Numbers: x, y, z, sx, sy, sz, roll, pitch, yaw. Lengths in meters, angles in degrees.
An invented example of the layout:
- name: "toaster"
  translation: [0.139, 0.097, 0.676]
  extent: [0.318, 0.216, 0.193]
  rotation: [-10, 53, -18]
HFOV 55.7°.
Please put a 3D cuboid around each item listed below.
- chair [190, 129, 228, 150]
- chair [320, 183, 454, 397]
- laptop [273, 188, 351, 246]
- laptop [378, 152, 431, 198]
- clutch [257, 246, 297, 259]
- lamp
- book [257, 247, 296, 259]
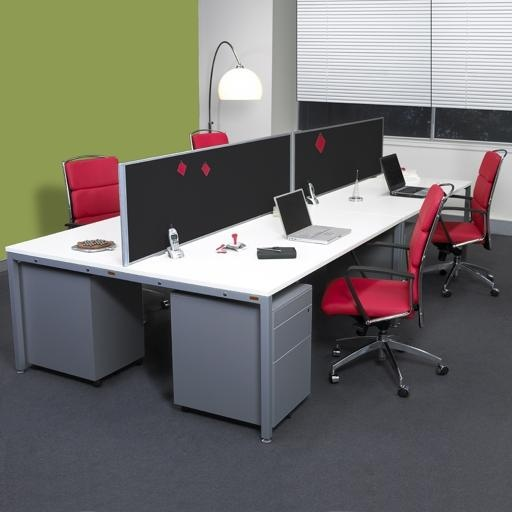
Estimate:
- name: "chair"
  translation: [-0.561, -1.341, 5.552]
  extent: [0.262, 0.210, 0.572]
  rotation: [3, 12, 18]
- name: "chair"
  translation: [0.762, 0.179, 2.927]
  extent: [0.773, 1.147, 0.761]
  rotation: [8, 17, 35]
- name: "laptop"
  translation: [0.294, -0.186, 3.089]
  extent: [0.370, 0.229, 0.395]
  rotation: [7, -3, 0]
- name: "laptop"
  translation: [1.443, -0.693, 4.493]
  extent: [0.378, 0.319, 0.523]
  rotation: [17, 11, 28]
- name: "clutch"
  translation: [0.109, -0.022, 2.656]
  extent: [0.213, 0.039, 0.234]
  rotation: [-1, 12, -1]
- name: "lamp"
  translation: [-0.346, -2.123, 6.572]
  extent: [0.920, 1.345, 0.509]
  rotation: [-2, 10, -7]
- name: "book"
  translation: [0.109, -0.022, 2.658]
  extent: [0.213, 0.039, 0.235]
  rotation: [-1, 12, -1]
